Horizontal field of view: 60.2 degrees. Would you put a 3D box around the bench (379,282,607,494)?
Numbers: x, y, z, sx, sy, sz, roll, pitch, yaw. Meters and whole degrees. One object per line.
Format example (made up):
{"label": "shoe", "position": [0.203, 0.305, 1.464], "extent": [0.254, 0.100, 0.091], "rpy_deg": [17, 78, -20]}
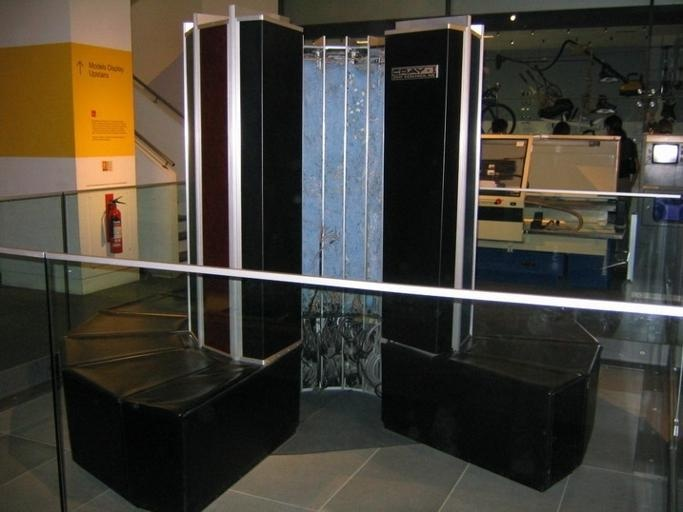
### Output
{"label": "bench", "position": [0.408, 0.279, 1.523], "extent": [0.484, 0.322, 0.472], "rpy_deg": [-15, 23, -42]}
